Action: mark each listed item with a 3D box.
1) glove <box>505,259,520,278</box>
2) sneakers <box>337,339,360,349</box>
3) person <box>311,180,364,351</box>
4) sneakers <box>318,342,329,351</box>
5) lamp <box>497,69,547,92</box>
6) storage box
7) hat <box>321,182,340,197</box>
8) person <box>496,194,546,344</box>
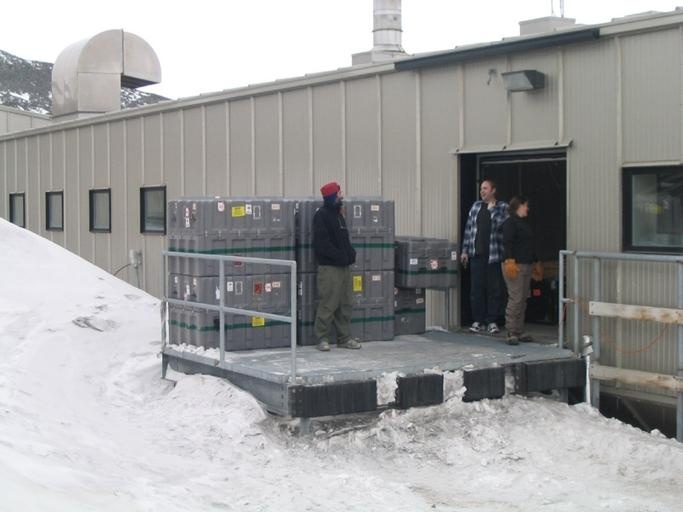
[{"bbox_3d":[2.119,0.157,12.181,0.173,0.209,0.077,-5,-1,-11],"label":"glove"},{"bbox_3d":[0.102,1.089,12.060,0.285,0.148,0.115,-2,-1,21],"label":"sneakers"},{"bbox_3d":[-0.087,0.133,11.997,0.555,2.031,0.498,0,0,-22],"label":"person"},{"bbox_3d":[-0.217,1.102,11.816,0.068,0.081,0.174,0,-4,-19],"label":"sneakers"},{"bbox_3d":[2.329,-2.238,12.464,0.498,0.240,0.321,0,1,40],"label":"lamp"},{"bbox_3d":[-0.560,0.124,12.561,2.824,1.706,1.840,-1,-1,-34],"label":"storage box"},{"bbox_3d":[-0.137,-0.800,11.943,0.212,0.207,0.316,0,0,-3],"label":"hat"},{"bbox_3d":[2.241,0.184,12.318,0.403,1.859,0.367,0,0,-4],"label":"person"}]
